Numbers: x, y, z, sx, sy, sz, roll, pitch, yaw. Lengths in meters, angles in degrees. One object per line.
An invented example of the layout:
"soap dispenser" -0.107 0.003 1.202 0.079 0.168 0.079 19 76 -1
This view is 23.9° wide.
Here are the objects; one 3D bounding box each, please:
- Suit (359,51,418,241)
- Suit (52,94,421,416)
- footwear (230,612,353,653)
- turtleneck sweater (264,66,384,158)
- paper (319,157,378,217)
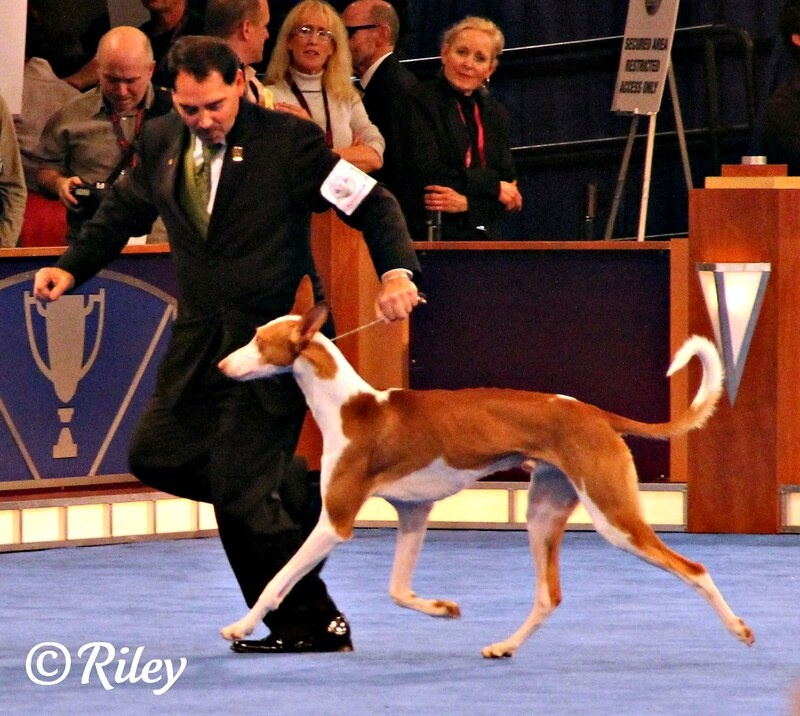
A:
"Suit" -0.054 -1.092 9.260 0.456 0.748 0.198 0 -3 -25
"Suit" -0.677 -0.352 7.088 1.213 1.091 0.443 -2 13 7
"footwear" -0.392 0.976 6.521 0.474 0.213 0.155 2 -5 -3
"turtleneck sweater" -0.308 -1.178 8.941 0.471 0.510 0.161 -20 1 -29
"paper" -0.170 -0.570 6.256 0.182 0.187 0.069 0 12 -4
